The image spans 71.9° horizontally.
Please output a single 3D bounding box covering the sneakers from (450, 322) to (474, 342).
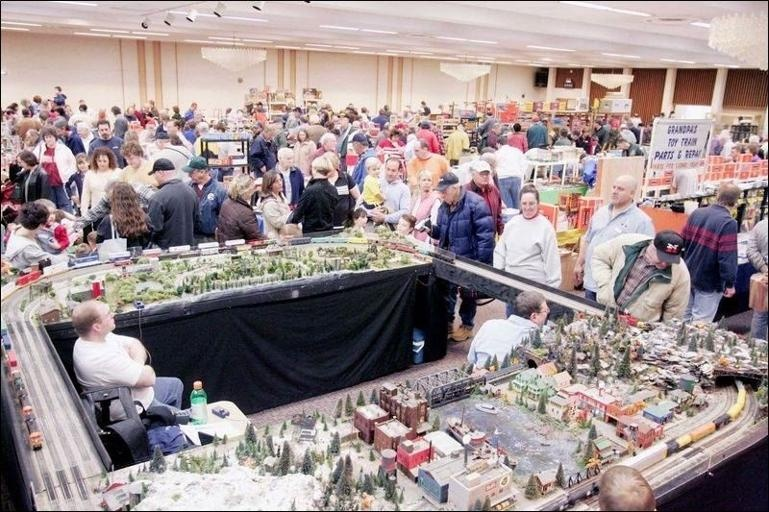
[{"bbox_3d":[1.031,0.989,6.830,0.382,0.170,0.150,-1,6,-44],"label":"sneakers"}]

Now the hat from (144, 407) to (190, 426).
[{"bbox_3d":[-1.604,1.193,3.943,0.205,0.073,0.171,3,5,-26],"label":"hat"}]

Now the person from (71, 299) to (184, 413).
[{"bbox_3d":[-2.016,0.770,4.102,0.628,0.985,0.438,-17,42,-30],"label":"person"}]

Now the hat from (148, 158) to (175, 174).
[{"bbox_3d":[-2.476,-0.995,5.865,0.218,0.125,0.154,12,23,25],"label":"hat"}]

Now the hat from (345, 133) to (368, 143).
[{"bbox_3d":[-0.421,-1.914,8.527,0.215,0.157,0.295,-13,28,-36],"label":"hat"}]

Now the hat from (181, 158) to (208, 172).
[{"bbox_3d":[-2.343,-1.119,6.555,0.284,0.146,0.176,-1,19,-10],"label":"hat"}]

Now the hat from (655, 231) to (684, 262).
[{"bbox_3d":[2.361,-0.097,4.438,0.189,0.150,0.273,4,38,0],"label":"hat"}]
